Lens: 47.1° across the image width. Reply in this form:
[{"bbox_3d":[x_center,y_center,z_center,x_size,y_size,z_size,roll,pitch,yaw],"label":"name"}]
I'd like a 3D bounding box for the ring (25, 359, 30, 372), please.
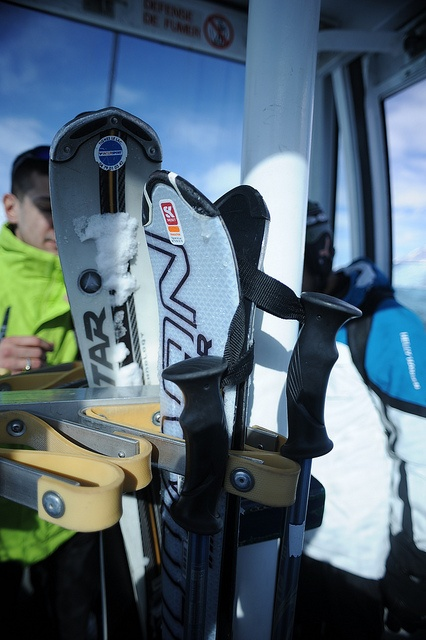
[{"bbox_3d":[-0.933,0.222,2.466,0.030,0.051,0.107,-4,7,-22],"label":"ring"}]
